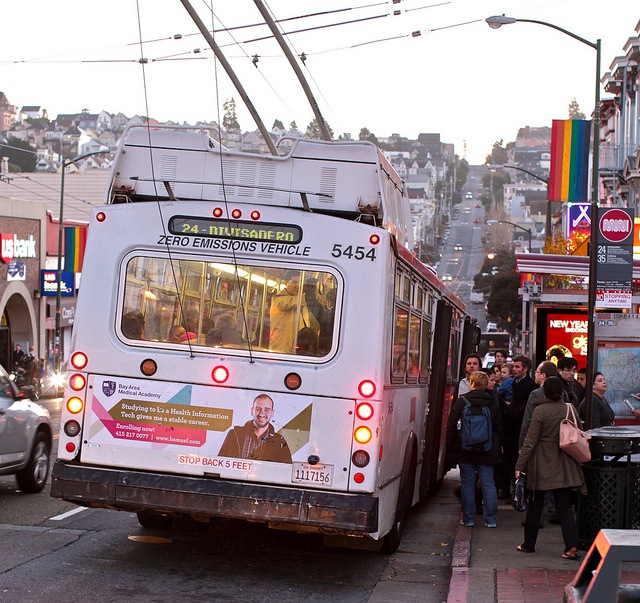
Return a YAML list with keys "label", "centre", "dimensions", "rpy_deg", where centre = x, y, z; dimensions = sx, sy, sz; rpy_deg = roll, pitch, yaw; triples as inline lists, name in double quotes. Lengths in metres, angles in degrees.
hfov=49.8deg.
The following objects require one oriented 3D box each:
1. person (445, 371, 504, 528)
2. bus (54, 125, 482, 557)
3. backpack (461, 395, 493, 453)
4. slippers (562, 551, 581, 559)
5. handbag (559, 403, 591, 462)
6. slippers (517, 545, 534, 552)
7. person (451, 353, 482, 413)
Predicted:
- label: "person"
  centre: [2.055, 1.901, 9.165]
  dimensions: [0.722, 2.229, 0.638]
  rpy_deg: [-1, 16, 1]
- label: "bus"
  centre: [0.338, 0.926, 10.438]
  dimensions: [3.174, 3.940, 9.344]
  rpy_deg: [4, -6, 19]
- label: "backpack"
  centre: [2.107, 1.651, 9.212]
  dimensions: [0.424, 0.844, 0.799]
  rpy_deg: [-2, -14, 19]
- label: "slippers"
  centre: [2.576, 2.589, 7.083]
  dimensions: [0.163, 0.072, 0.156]
  rpy_deg: [2, 1, 22]
- label: "handbag"
  centre: [2.686, 1.394, 7.289]
  dimensions: [0.215, 0.481, 0.387]
  rpy_deg: [-19, -43, 32]
- label: "slippers"
  centre: [2.212, 2.662, 7.444]
  dimensions: [0.060, 0.055, 0.162]
  rpy_deg: [1, -2, -28]
- label: "person"
  centre: [2.291, 1.316, 10.470]
  dimensions: [0.375, 1.023, 0.288]
  rpy_deg: [3, -24, 12]
